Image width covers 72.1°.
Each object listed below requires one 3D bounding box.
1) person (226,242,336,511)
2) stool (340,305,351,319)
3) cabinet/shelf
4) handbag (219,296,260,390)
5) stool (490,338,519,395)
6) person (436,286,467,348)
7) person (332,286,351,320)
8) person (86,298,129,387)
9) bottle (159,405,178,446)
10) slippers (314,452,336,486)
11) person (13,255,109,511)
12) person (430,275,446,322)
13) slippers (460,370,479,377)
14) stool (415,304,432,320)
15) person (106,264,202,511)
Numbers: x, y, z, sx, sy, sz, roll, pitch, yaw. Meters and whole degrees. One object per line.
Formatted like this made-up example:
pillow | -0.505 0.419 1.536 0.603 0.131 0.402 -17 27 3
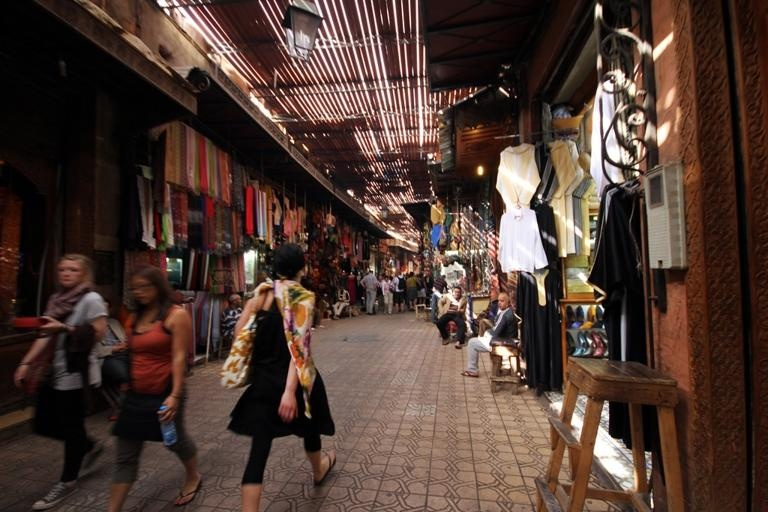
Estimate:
person | -0.947 0.996 4.645 0.892 2.130 0.587 -8 13 -32
stool | -1.237 1.827 17.211 0.333 0.357 0.599 15 -10 5
cabinet/shelf | 2.781 1.296 7.531 0.408 1.322 0.749 -2 -8 15
handbag | -1.274 0.786 4.606 0.193 0.754 0.356 6 13 31
stool | 1.706 1.547 7.542 0.445 0.550 0.436 -3 -1 -6
person | 1.404 1.208 10.766 0.601 1.241 1.041 5 0 -10
person | -1.386 1.560 17.070 0.681 1.138 2.172 0 -7 4
person | -3.181 1.082 6.189 0.496 0.955 0.385 13 37 -9
bottle | -1.937 1.607 4.801 0.075 0.303 0.165 6 13 31
slippers | -0.582 2.127 5.240 0.099 0.085 0.300 -2 35 16
person | -3.055 1.158 5.059 0.822 2.244 0.530 -11 15 -40
person | 1.384 1.048 12.876 0.372 1.293 0.348 21 31 35
slippers | 1.300 1.795 8.016 0.253 0.121 0.098 8 -3 8
stool | 1.257 1.820 16.868 0.529 0.697 0.465 -4 -2 1
person | -2.129 1.226 4.832 0.778 2.195 0.601 -7 13 -29
